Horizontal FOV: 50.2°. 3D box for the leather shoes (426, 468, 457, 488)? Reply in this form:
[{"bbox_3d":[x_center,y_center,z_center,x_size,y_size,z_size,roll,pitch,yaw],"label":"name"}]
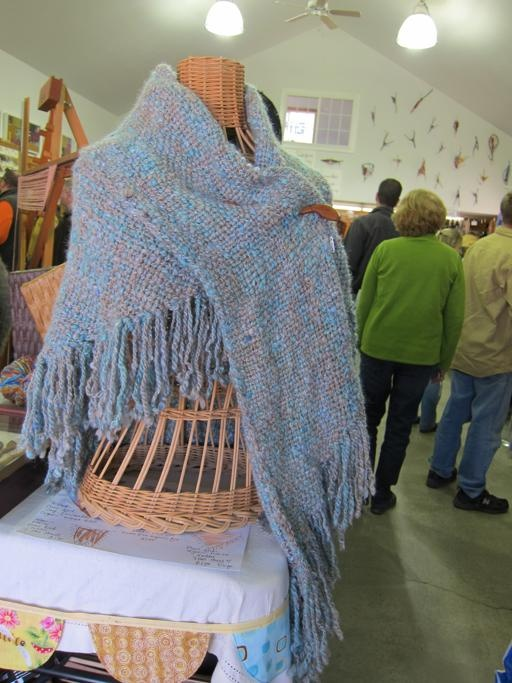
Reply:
[{"bbox_3d":[0.825,0.594,2.437,0.178,0.070,0.059,-7,11,-44],"label":"leather shoes"}]

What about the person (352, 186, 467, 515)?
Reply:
[{"bbox_3d":[0.525,0.087,1.961,0.359,1.217,0.195,6,13,8],"label":"person"}]

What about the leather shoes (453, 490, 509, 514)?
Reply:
[{"bbox_3d":[0.918,0.656,2.252,0.234,0.096,0.086,1,8,3],"label":"leather shoes"}]
